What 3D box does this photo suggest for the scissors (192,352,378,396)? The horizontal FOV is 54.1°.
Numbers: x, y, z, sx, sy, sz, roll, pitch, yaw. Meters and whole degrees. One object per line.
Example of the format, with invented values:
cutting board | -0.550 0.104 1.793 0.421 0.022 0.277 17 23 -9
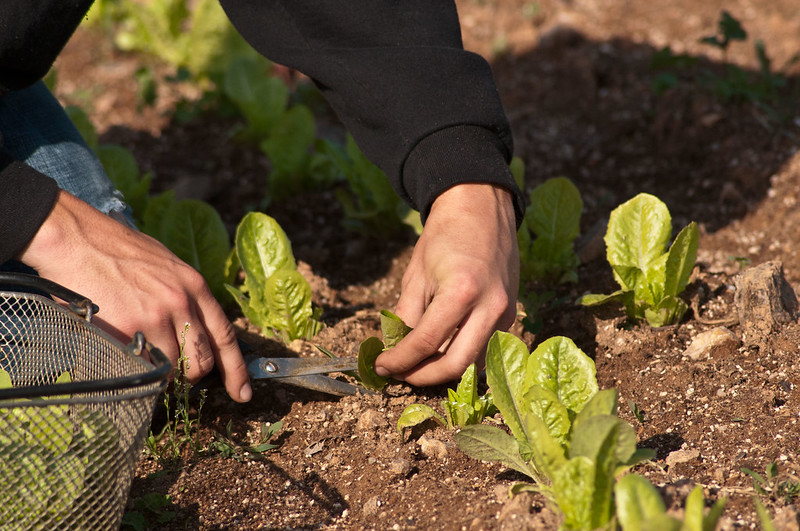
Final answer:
scissors | -0.350 0.397 2.829 0.333 0.149 0.407 -2 5 45
